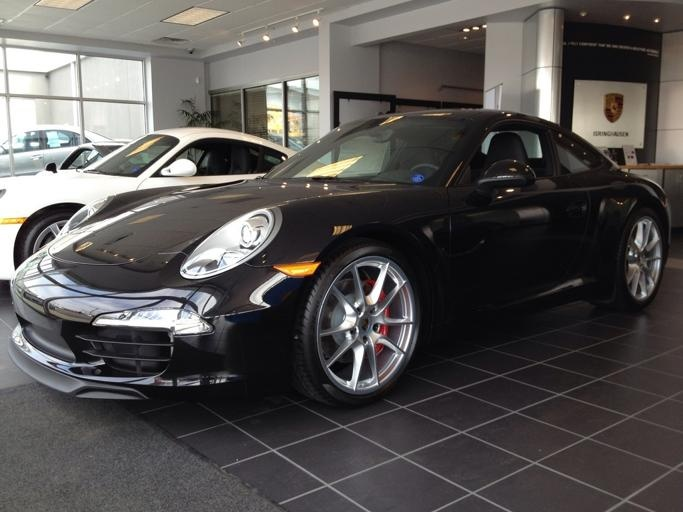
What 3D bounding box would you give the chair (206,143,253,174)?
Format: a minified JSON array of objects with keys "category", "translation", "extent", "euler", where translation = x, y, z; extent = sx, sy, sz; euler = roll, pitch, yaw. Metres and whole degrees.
[{"category":"chair","translation":[-1.164,-1.095,4.897],"extent":[0.354,0.415,0.477],"euler":[3,12,8]}]
